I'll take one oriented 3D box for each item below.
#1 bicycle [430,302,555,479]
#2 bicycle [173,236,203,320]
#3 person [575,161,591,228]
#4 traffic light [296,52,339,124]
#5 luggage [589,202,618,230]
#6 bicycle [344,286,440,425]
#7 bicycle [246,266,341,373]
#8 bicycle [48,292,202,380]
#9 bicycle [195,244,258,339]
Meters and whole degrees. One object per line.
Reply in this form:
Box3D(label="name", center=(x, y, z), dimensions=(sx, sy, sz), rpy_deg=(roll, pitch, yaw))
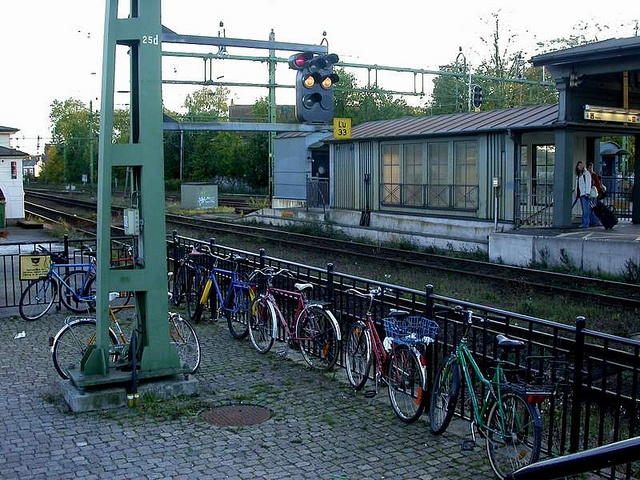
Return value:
Box3D(label="bicycle", center=(1.834, 1.640, 7.247), dimensions=(0.686, 1.500, 1.692), rpy_deg=(-1, 8, -18))
Box3D(label="bicycle", center=(-2.615, 0.797, 13.131), dimensions=(0.683, 0.960, 1.483), rpy_deg=(1, 11, -20))
Box3D(label="person", center=(8.493, -1.454, 21.505), dimensions=(0.518, 2.093, 1.458), rpy_deg=(4, 7, 22))
Box3D(label="traffic light", center=(-0.056, -2.371, 10.423), dimensions=(0.646, 1.062, 0.373), rpy_deg=(1, 6, -4))
Box3D(label="luggage", center=(9.169, -0.763, 21.187), dimensions=(0.319, 0.900, 0.683), rpy_deg=(-37, 10, 8))
Box3D(label="bicycle", center=(0.886, 1.488, 8.465), dimensions=(0.653, 1.362, 1.910), rpy_deg=(1, 3, -19))
Box3D(label="bicycle", center=(-0.365, 1.256, 10.023), dimensions=(0.805, 1.285, 1.903), rpy_deg=(-4, 13, -35))
Box3D(label="bicycle", center=(-2.836, 1.465, 9.680), dimensions=(2.126, 1.507, 1.149), rpy_deg=(-2, 4, -14))
Box3D(label="bicycle", center=(-1.765, 0.915, 11.660), dimensions=(0.807, 1.238, 1.728), rpy_deg=(-1, 11, -25))
